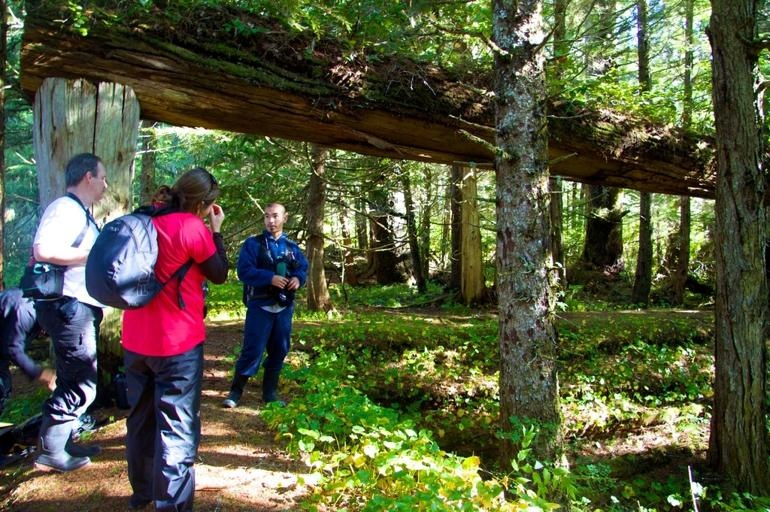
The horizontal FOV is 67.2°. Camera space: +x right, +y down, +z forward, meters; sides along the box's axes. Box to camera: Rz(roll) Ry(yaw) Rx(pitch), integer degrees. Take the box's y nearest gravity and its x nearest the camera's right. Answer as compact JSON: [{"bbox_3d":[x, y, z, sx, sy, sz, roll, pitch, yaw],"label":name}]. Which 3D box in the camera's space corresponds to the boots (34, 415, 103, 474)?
[{"bbox_3d":[-3.477,2.037,6.326,0.615,0.560,0.310,1,2,-27],"label":"boots"}]

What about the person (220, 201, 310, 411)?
[{"bbox_3d":[-1.557,0.649,7.589,0.959,2.657,0.478,2,2,-15],"label":"person"}]

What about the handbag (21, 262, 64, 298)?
[{"bbox_3d":[-3.676,0.263,6.236,0.376,0.386,0.207,3,-6,-13],"label":"handbag"}]
